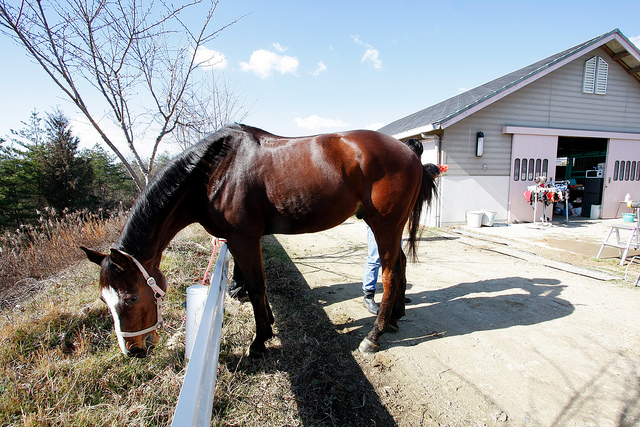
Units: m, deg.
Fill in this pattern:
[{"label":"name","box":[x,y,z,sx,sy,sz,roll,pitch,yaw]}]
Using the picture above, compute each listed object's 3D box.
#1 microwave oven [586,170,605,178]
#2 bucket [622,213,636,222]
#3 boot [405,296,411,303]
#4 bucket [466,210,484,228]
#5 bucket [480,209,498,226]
[{"label":"microwave oven","box":[9.552,-1.366,11.692,0.485,0.244,0.342,1,0,9]},{"label":"bucket","box":[6.528,0.085,7.135,0.242,0.149,0.248,-1,3,0]},{"label":"boot","box":[1.401,1.367,5.372,0.078,0.062,0.167,0,4,14]},{"label":"bucket","box":[4.505,0.178,9.863,0.437,0.383,0.484,-4,-4,33]},{"label":"bucket","box":[4.938,0.116,10.053,0.382,0.487,0.562,5,0,-32]}]
